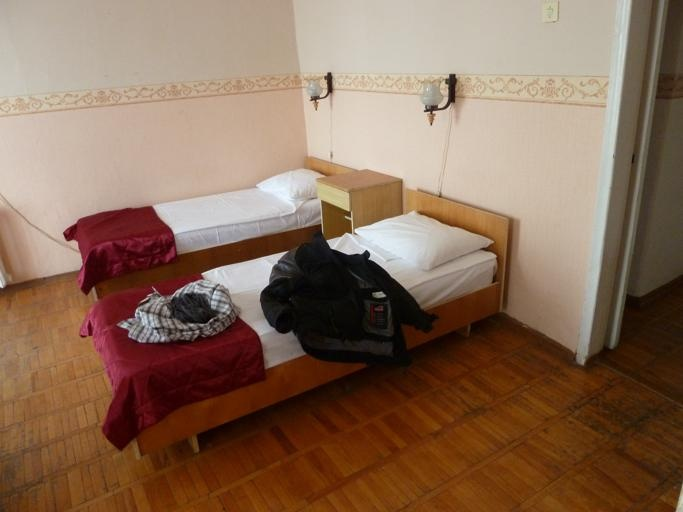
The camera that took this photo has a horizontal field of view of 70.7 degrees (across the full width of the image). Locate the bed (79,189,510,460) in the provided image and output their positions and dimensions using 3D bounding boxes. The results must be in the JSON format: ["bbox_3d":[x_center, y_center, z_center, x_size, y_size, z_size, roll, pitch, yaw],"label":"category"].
[{"bbox_3d":[-0.389,0.133,3.667,2.674,0.814,2.035,-19,32,-25],"label":"bed"}]

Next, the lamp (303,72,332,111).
[{"bbox_3d":[-0.255,-1.636,4.779,0.276,0.408,0.287,-14,30,-27],"label":"lamp"}]

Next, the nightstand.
[{"bbox_3d":[0.145,-0.497,4.355,0.440,0.491,0.529,-24,32,-22],"label":"nightstand"}]

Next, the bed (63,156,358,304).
[{"bbox_3d":[-1.106,-0.055,4.396,2.214,0.966,1.210,-23,36,-33],"label":"bed"}]

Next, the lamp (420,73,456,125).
[{"bbox_3d":[0.716,-1.119,3.536,0.229,0.387,0.246,8,31,23],"label":"lamp"}]
